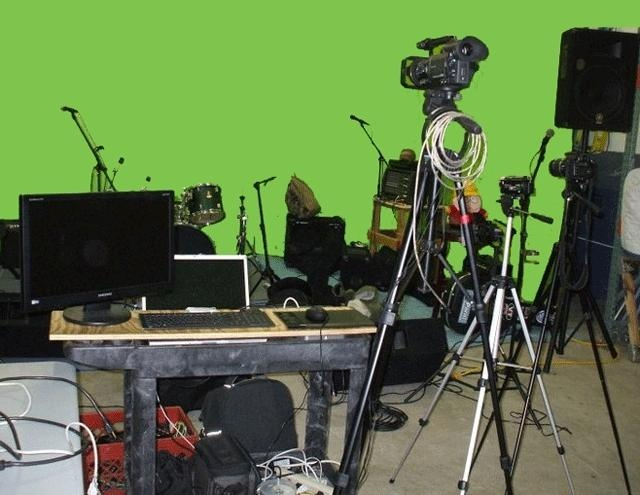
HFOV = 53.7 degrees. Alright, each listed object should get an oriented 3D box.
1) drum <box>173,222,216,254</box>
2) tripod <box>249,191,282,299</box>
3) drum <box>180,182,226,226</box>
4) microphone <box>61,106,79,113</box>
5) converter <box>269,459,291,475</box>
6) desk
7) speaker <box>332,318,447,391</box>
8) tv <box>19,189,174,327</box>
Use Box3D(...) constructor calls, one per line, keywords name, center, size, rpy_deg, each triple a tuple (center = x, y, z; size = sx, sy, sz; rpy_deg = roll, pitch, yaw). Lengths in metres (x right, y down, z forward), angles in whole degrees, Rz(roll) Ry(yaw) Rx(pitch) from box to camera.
Box3D(name="drum", center=(-1.081, -0.050, 5.521), size=(0.313, 0.371, 0.343), rpy_deg=(0, 12, -7))
Box3D(name="tripod", center=(-0.567, -0.113, 6.665), size=(0.302, 1.130, 1.035), rpy_deg=(3, 11, -6))
Box3D(name="drum", center=(-1.164, -0.405, 6.308), size=(0.371, 0.298, 0.394), rpy_deg=(-7, -21, -3))
Box3D(name="microphone", center=(-2.529, -1.394, 6.415), size=(0.154, 0.063, 0.132), rpy_deg=(0, 11, -24))
Box3D(name="converter", center=(-0.194, 1.155, 3.334), size=(0.064, 0.067, 0.020), rpy_deg=(4, -24, -19))
Box3D(name="desk", center=(-0.511, 0.769, 3.203), size=(0.960, 0.951, 0.322), rpy_deg=(-1, 6, -19))
Box3D(name="speaker", center=(0.630, 0.744, 4.907), size=(0.765, 0.597, 0.563), rpy_deg=(-1, 5, -13))
Box3D(name="tv", center=(-1.073, 0.043, 3.075), size=(0.598, 0.572, 0.266), rpy_deg=(-2, 4, -36))
